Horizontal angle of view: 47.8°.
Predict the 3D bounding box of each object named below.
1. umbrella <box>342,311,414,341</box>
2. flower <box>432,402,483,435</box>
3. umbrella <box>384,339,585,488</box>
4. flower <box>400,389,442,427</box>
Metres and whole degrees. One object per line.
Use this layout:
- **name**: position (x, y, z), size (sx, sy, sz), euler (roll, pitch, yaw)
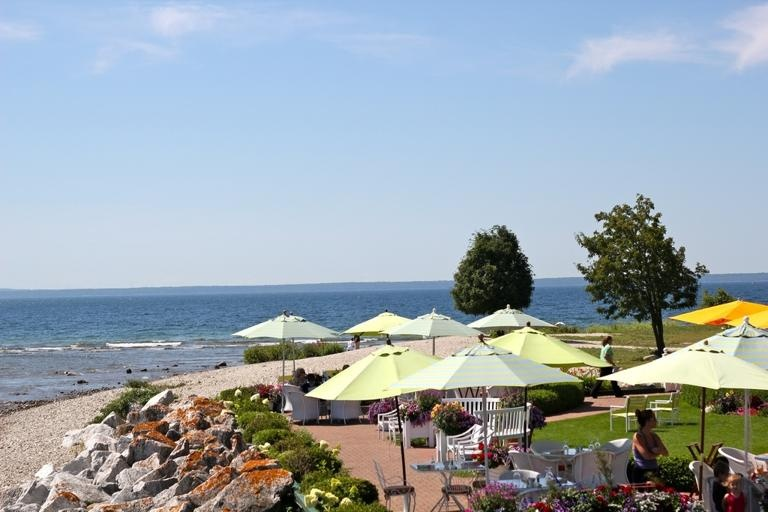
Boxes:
- **umbrella**: position (-0.440, 3.030, 36.929), size (1.968, 0.744, 1.914), euler (-3, 1, 25)
- **flower**: position (2.097, 5.086, 26.913), size (1.142, 0.793, 0.984), euler (-1, -14, -14)
- **umbrella**: position (2.273, 4.456, 23.729), size (4.356, 2.767, 4.115), euler (-1, 0, -18)
- **flower**: position (1.179, 5.177, 29.374), size (1.118, 0.654, 1.029), euler (-9, 8, 4)
